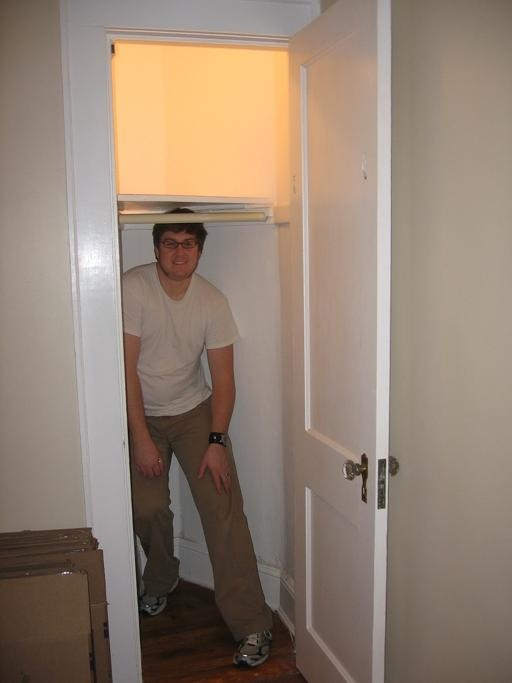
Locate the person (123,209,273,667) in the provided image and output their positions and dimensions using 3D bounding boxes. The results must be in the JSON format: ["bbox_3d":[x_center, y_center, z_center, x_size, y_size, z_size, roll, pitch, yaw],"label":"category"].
[{"bbox_3d":[-0.241,0.338,2.277,0.687,1.622,0.488,3,11,31],"label":"person"}]

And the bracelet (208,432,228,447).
[{"bbox_3d":[-0.165,0.416,2.284,0.057,0.061,0.074,0,-11,9],"label":"bracelet"}]
